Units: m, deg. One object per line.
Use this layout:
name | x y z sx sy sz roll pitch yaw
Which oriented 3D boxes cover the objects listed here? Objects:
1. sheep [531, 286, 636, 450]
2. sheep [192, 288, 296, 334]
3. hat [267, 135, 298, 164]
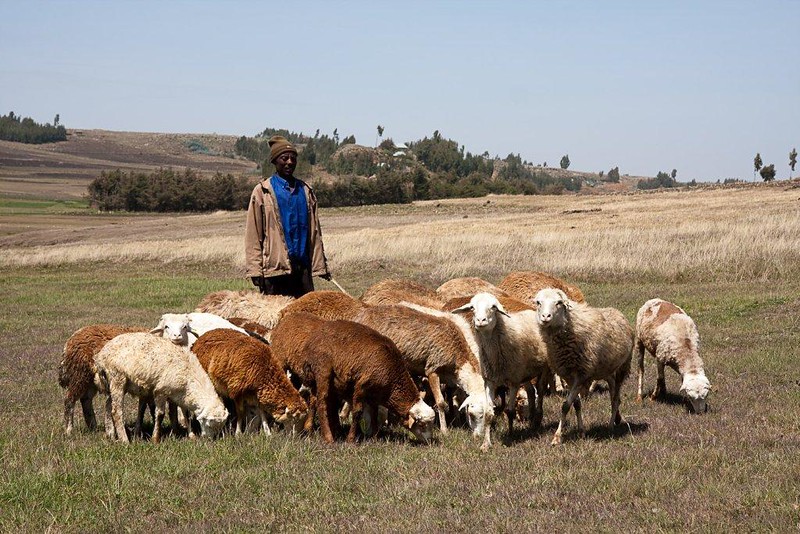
sheep | 3.964 2.010 18.350 2.551 3.185 1.189 -9 14 -35
sheep | -3.960 1.433 21.757 2.657 1.428 0.874 11 13 4
hat | -2.792 -2.784 20.039 0.628 0.626 0.652 -3 11 -9
